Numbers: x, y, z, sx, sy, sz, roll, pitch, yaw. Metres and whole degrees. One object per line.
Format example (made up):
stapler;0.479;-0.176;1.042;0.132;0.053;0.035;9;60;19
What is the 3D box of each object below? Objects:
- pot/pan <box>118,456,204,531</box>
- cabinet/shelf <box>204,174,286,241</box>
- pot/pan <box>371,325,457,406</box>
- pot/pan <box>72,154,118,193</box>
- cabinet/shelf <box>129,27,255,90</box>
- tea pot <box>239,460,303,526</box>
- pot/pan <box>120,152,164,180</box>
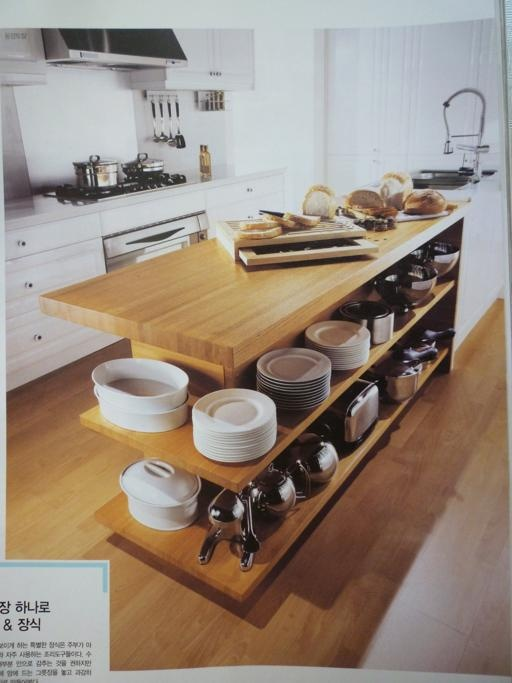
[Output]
pot/pan;-0.255;0.378;1.394;0.221;0.104;0.186;12;23;13
cabinet/shelf;-0.170;-1.011;4.015;0.303;0.452;0.937;19;30;31
pot/pan;0.607;0.074;2.074;0.478;0.159;0.206;-28;24;-38
pot/pan;-0.873;-0.933;2.936;0.228;0.149;0.215;-2;25;-3
cabinet/shelf;-0.400;-2.009;3.841;0.283;0.397;0.897;22;33;38
tea pot;0.037;0.357;1.304;0.129;0.086;0.094;-25;35;-39
pot/pan;-0.724;-1.033;3.213;0.271;0.133;0.272;17;34;30
